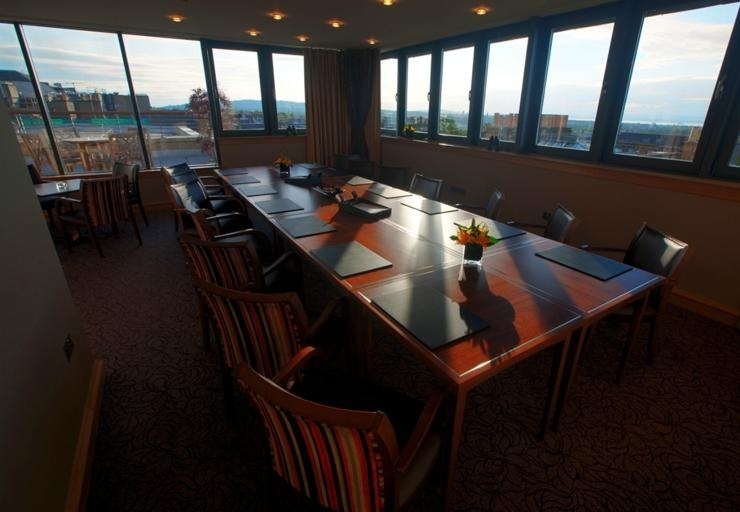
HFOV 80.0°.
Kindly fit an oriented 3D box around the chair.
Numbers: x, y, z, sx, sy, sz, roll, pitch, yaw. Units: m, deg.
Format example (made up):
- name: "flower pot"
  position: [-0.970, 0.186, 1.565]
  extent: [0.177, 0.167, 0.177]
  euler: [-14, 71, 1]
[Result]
- name: "chair"
  position: [0.424, 0.374, 3.999]
  extent: [1.929, 1.484, 3.213]
  euler: [-17, 27, -34]
